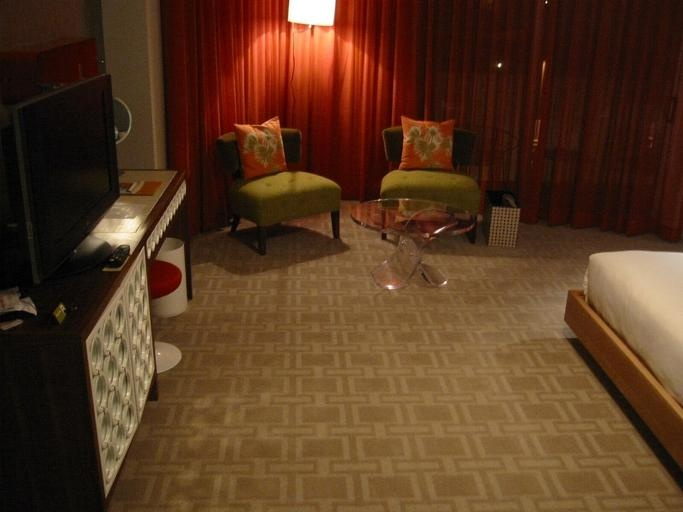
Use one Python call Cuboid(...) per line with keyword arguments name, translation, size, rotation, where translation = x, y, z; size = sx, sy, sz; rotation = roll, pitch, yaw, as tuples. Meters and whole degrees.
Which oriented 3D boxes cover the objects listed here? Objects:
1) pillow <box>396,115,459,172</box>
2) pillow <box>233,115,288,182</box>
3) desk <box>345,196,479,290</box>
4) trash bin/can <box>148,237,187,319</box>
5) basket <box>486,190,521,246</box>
Cuboid(name="pillow", translation=(0.831, -1.058, 4.807), size=(0.582, 0.574, 0.220), rotation=(3, 12, 2))
Cuboid(name="pillow", translation=(-0.726, -0.928, 4.438), size=(0.586, 0.589, 0.209), rotation=(-21, 19, -40))
Cuboid(name="desk", translation=(0.545, -0.151, 3.815), size=(0.770, 0.437, 0.785), rotation=(0, 25, -17))
Cuboid(name="trash bin/can", translation=(-1.069, 0.149, 3.046), size=(0.262, 0.415, 0.264), rotation=(9, 53, -13))
Cuboid(name="basket", translation=(1.467, -0.329, 4.558), size=(0.234, 0.331, 0.439), rotation=(3, 23, 9))
